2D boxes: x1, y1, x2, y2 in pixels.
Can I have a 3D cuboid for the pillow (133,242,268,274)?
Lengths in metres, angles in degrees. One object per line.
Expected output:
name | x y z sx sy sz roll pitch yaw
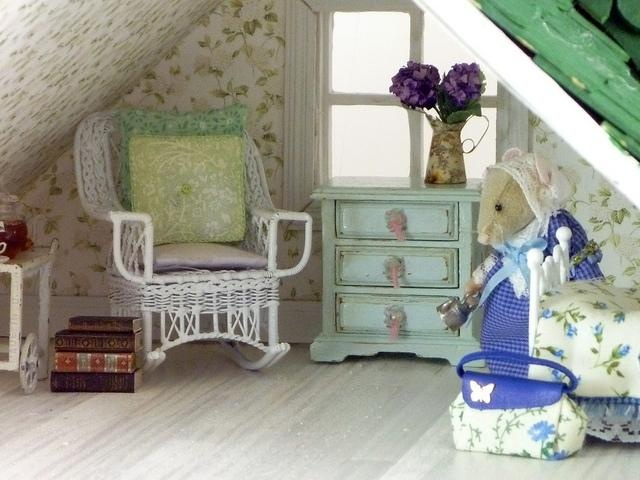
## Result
pillow | -0.477 0.070 3.111 0.490 0.086 0.238 -3 10 -16

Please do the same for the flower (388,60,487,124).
flower | 0.530 -0.617 3.349 0.456 0.272 0.347 -2 5 -11

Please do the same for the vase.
vase | 0.603 -0.402 3.437 0.405 0.377 0.214 0 4 1

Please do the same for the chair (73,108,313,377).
chair | -0.532 -0.018 3.232 0.871 1.049 0.839 -1 6 -29

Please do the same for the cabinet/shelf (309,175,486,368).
cabinet/shelf | 0.406 0.167 3.424 0.779 0.708 0.603 0 1 28
